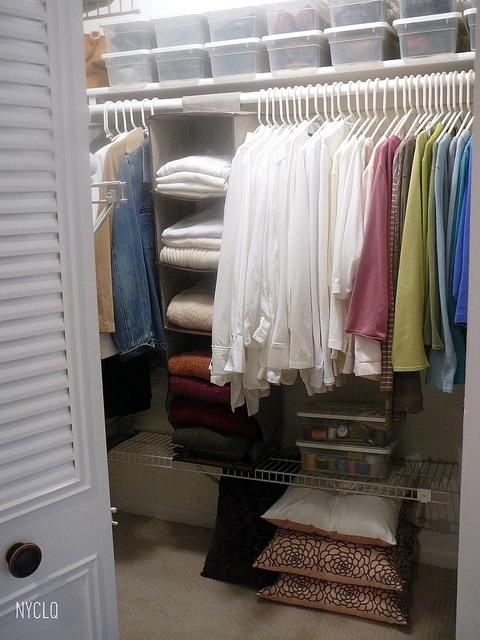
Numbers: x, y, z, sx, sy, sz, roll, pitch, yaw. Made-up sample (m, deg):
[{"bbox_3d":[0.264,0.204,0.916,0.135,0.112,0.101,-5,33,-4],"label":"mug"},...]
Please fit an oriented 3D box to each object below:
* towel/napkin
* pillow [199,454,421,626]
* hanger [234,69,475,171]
[{"bbox_3d":[-0.184,-0.540,1.944,0.300,0.154,0.186,-2,7,0],"label":"towel/napkin"},{"bbox_3d":[0.255,0.858,1.947,0.549,0.184,0.629,1,28,15],"label":"pillow"},{"bbox_3d":[0.441,-0.790,1.987,0.859,0.309,0.669,1,8,21],"label":"hanger"}]
